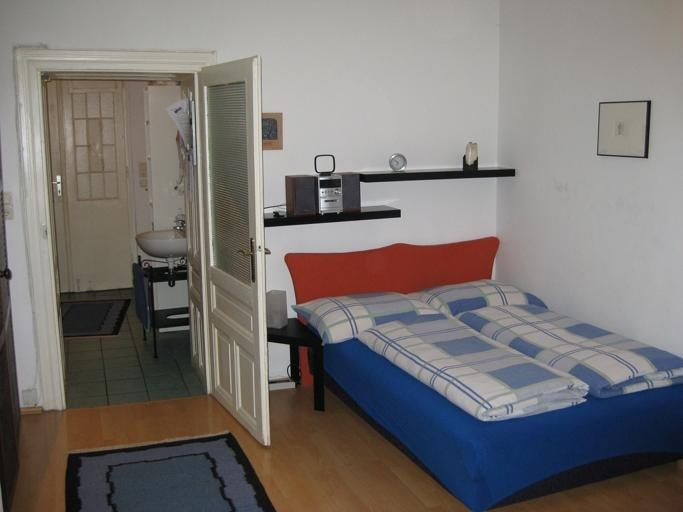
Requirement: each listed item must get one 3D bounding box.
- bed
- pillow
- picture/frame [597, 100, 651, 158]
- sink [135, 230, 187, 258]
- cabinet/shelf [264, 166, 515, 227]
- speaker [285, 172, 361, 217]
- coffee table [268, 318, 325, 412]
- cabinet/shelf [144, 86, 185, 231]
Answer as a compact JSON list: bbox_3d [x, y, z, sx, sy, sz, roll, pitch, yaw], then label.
[{"bbox_3d":[0.601,0.811,4.479,1.534,0.961,1.536,-8,18,-27],"label":"bed"},{"bbox_3d":[0.549,0.441,4.335,1.808,0.299,0.499,-4,13,-14],"label":"pillow"},{"bbox_3d":[1.952,-0.875,3.710,0.038,0.369,0.388,-6,15,-24],"label":"picture/frame"},{"bbox_3d":[-1.768,-0.096,5.297,0.457,0.212,0.639,-5,13,-19],"label":"sink"},{"bbox_3d":[0.320,-0.504,4.482,3.138,0.450,0.546,-5,6,-14],"label":"cabinet/shelf"},{"bbox_3d":[-0.145,-0.494,4.298,0.604,0.306,0.255,-2,13,-6],"label":"speaker"},{"bbox_3d":[-0.317,0.855,4.247,0.600,0.596,0.602,-4,9,-21],"label":"coffee table"},{"bbox_3d":[-1.887,-1.050,5.780,0.372,1.503,0.283,-4,13,-16],"label":"cabinet/shelf"}]
